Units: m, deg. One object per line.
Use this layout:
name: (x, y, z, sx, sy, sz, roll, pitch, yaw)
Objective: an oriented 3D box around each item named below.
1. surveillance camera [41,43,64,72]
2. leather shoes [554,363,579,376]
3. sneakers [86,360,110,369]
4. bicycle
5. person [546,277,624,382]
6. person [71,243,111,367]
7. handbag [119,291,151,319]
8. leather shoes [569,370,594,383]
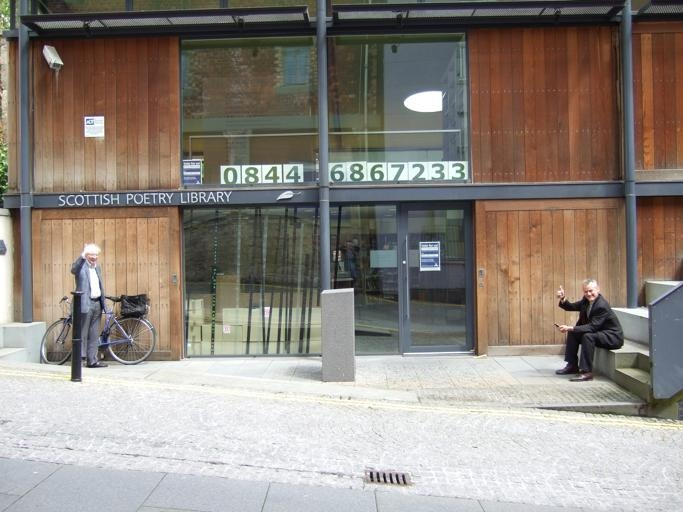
surveillance camera: (-5.480, -3.774, 15.979, 0.280, 0.479, 0.276, -25, -23, -40)
leather shoes: (3.874, 1.943, 14.553, 0.452, 0.243, 0.151, 1, 1, 6)
sneakers: (-4.417, 1.939, 15.254, 0.401, 0.157, 0.144, -1, 0, -15)
bicycle: (-4.581, 1.386, 16.211, 2.260, 1.333, 1.055, 2, -5, -2)
person: (4.161, 1.221, 14.300, 0.860, 1.683, 0.917, -1, 0, -30)
person: (-4.529, 0.879, 15.142, 0.515, 2.207, 0.661, -1, 0, -10)
handbag: (-3.826, 0.902, 15.654, 0.476, 0.387, 0.460, -5, -2, 2)
leather shoes: (4.003, 2.013, 14.053, 0.421, 0.177, 0.157, 0, -4, -3)
